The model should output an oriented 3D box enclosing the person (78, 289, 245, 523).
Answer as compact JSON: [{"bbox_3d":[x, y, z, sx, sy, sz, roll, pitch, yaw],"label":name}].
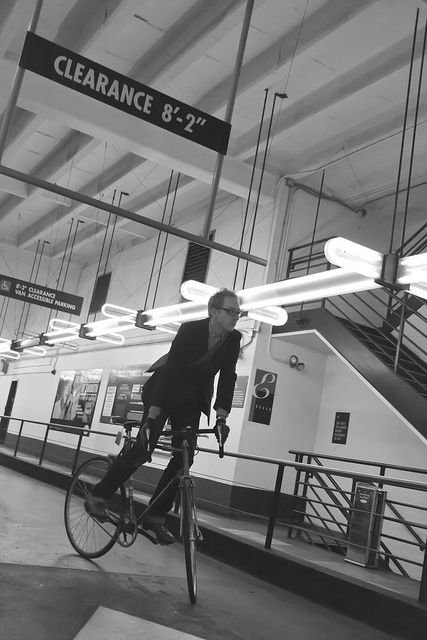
[{"bbox_3d":[-0.203,0.454,2.454,0.549,1.300,0.692,15,-9,-14],"label":"person"}]

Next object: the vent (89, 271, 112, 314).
[{"bbox_3d":[-3.391,-0.826,14.539,0.230,0.925,1.011,17,-9,-28],"label":"vent"}]

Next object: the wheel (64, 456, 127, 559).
[{"bbox_3d":[-0.678,1.043,2.706,0.495,0.522,0.103,-11,-20,34],"label":"wheel"}]
